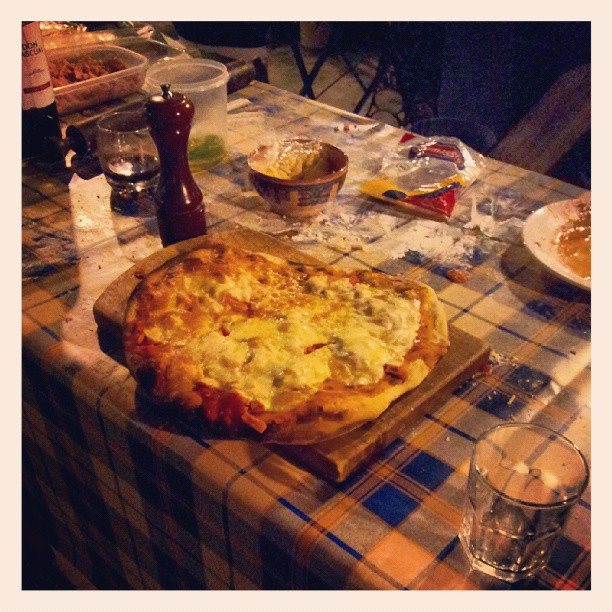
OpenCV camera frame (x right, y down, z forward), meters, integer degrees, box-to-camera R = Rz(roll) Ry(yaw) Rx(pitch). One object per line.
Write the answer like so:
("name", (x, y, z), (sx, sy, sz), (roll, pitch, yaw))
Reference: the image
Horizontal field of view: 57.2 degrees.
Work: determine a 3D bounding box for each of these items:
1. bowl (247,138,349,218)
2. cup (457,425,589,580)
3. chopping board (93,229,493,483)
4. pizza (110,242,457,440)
("bowl", (-0.021, -0.259, 1.209), (0.221, 0.113, 0.211), (1, 37, -1))
("cup", (0.219, 0.230, 0.598), (0.102, 0.115, 0.111), (10, 2, 0))
("chopping board", (-0.039, 0.028, 0.859), (0.533, 0.111, 0.346), (24, 38, 33))
("pizza", (-0.042, 0.043, 0.808), (0.466, 0.109, 0.350), (10, 32, 15))
